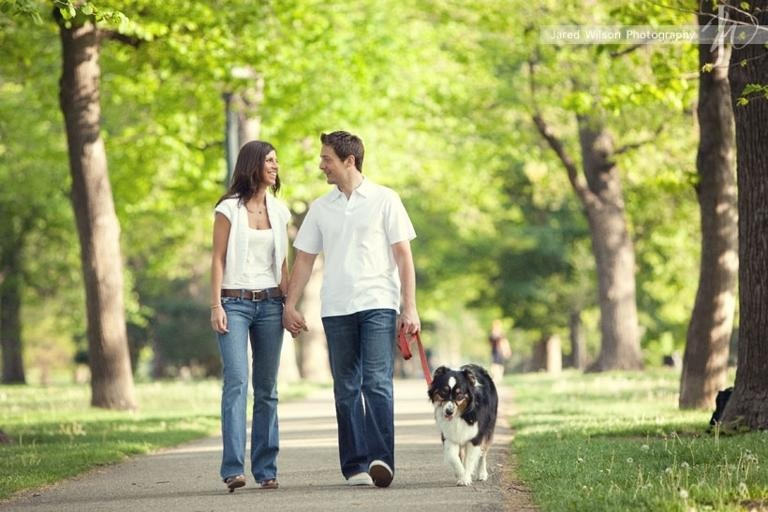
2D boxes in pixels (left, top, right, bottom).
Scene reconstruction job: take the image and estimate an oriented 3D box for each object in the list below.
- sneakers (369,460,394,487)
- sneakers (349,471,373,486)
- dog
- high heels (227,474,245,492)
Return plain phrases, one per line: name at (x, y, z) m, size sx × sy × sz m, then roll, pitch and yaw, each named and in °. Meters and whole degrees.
sneakers at (-0.052, 3.320, 27.054) m, size 0.239 × 0.462 × 0.207 m, roll -11°, pitch 17°, yaw -5°
sneakers at (-0.368, 3.425, 27.239) m, size 0.321 × 0.144 × 0.171 m, roll 1°, pitch -6°, yaw 8°
dog at (1.247, 2.601, 27.408) m, size 0.587 × 1.842 × 1.039 m, roll -9°, pitch -6°, yaw 44°
high heels at (-2.245, 3.452, 27.062) m, size 0.155 × 0.160 × 0.359 m, roll -2°, pitch -14°, yaw -25°
